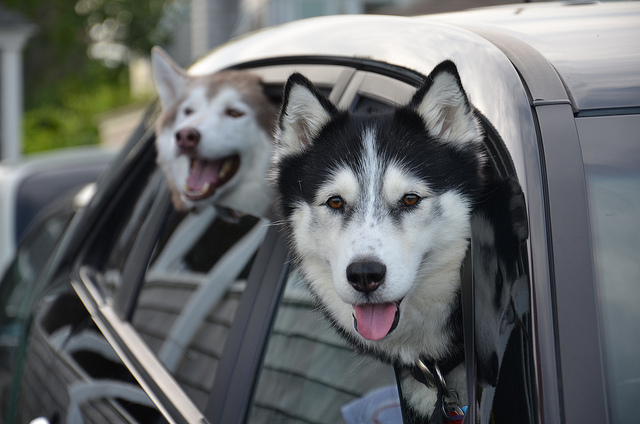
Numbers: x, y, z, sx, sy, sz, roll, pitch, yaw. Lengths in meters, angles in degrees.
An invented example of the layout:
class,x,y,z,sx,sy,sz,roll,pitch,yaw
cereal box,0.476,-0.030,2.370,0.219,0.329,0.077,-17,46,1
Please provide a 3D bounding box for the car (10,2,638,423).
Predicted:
class,x,y,z,sx,sy,sz,roll,pitch,yaw
car,0.035,0.351,2.470,1.877,0.641,1.663,-3,45,21

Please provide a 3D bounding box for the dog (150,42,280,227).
class,x,y,z,sx,sy,sz,roll,pitch,yaw
dog,-0.309,-0.278,2.281,0.450,0.568,0.219,-13,-19,38
